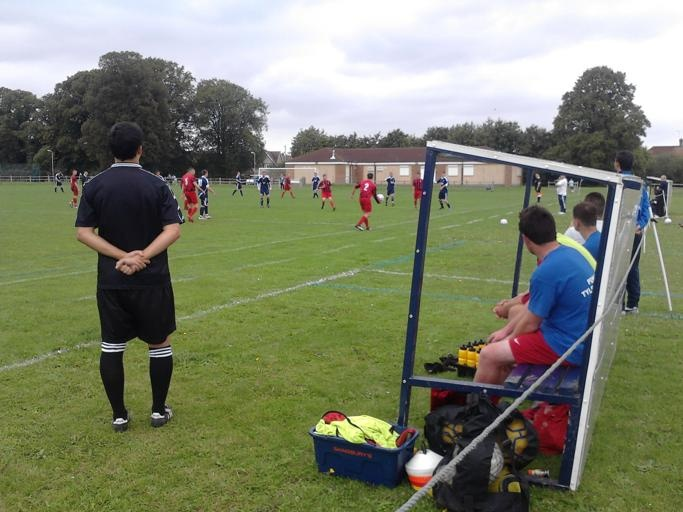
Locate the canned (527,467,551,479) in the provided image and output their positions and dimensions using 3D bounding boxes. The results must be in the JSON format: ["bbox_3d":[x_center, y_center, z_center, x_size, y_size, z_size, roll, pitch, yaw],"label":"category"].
[{"bbox_3d":[1.542,1.689,4.678,0.134,0.064,0.077,4,-6,8],"label":"canned"}]

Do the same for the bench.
[{"bbox_3d":[1.684,1.173,5.063,0.539,0.695,0.693,7,25,22],"label":"bench"}]

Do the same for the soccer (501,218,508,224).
[{"bbox_3d":[3.887,-0.792,14.307,0.163,0.076,0.227,-1,3,8],"label":"soccer"}]

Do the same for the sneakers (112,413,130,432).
[{"bbox_3d":[-1.920,1.460,5.220,0.072,0.082,0.174,2,8,-13],"label":"sneakers"}]

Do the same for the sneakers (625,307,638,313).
[{"bbox_3d":[4.217,0.798,8.719,0.157,0.079,0.087,-2,3,35],"label":"sneakers"}]

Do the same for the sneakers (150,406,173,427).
[{"bbox_3d":[-1.601,1.431,5.375,0.089,0.117,0.267,3,9,6],"label":"sneakers"}]

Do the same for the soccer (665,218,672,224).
[{"bbox_3d":[12.205,-1.271,22.400,0.260,0.135,0.424,1,11,13],"label":"soccer"}]

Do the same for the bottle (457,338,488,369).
[{"bbox_3d":[1.415,1.066,6.596,0.277,0.167,0.404,0,0,13],"label":"bottle"}]

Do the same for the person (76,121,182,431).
[{"bbox_3d":[-1.800,0.187,5.212,0.825,2.595,0.469,-5,13,-25],"label":"person"}]

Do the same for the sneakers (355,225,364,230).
[{"bbox_3d":[0.584,-0.884,19.416,0.261,0.094,0.174,10,-12,-44],"label":"sneakers"}]

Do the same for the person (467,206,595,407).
[{"bbox_3d":[1.619,0.387,4.960,0.820,1.521,0.729,6,13,23],"label":"person"}]
